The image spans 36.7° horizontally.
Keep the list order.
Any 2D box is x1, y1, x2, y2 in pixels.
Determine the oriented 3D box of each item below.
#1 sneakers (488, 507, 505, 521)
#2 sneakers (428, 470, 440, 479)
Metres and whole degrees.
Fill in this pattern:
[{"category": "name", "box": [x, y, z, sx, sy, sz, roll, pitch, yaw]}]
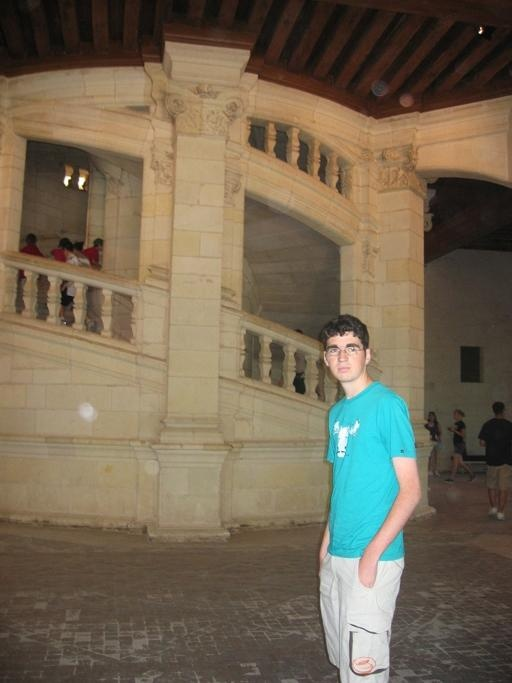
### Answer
[{"category": "sneakers", "box": [2.886, 2.061, 9.215, 0.160, 0.138, 0.346, 0, -6, 13]}, {"category": "sneakers", "box": [3.523, 2.606, 15.137, 0.098, 0.101, 0.270, -1, -3, 26]}]
